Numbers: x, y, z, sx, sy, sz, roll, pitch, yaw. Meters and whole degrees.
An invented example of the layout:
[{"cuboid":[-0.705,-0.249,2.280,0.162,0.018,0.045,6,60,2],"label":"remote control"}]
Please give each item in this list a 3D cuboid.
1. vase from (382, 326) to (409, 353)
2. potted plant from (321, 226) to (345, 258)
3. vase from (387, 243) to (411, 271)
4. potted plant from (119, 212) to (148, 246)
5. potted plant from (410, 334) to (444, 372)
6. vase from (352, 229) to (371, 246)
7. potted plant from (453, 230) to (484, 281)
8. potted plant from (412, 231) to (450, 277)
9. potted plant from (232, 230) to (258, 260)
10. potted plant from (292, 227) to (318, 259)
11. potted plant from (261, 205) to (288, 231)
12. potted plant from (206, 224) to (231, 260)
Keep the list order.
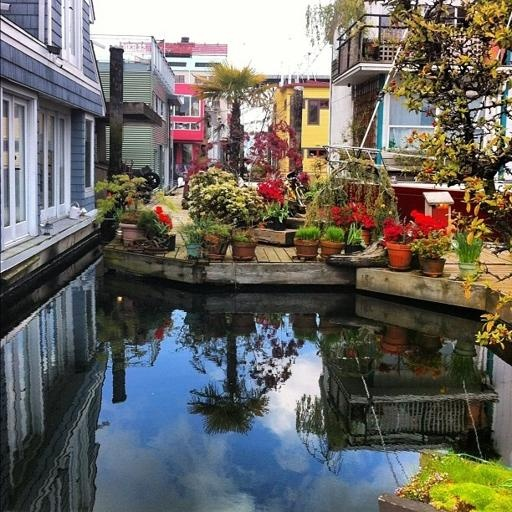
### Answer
[{"cuboid":[1.516,0.925,5.557,0.202,0.202,0.206,1,0,-1],"label":"vase"},{"cuboid":[1.187,-0.227,7.863,0.359,0.414,0.372,10,-11,-30],"label":"potted plant"},{"cuboid":[1.967,0.015,6.961,0.350,0.327,0.357,0,-2,-1],"label":"vase"},{"cuboid":[-2.176,-0.474,9.018,0.563,0.580,0.542,0,1,24],"label":"potted plant"},{"cuboid":[1.700,0.989,5.122,0.265,0.288,0.298,1,-4,-1],"label":"potted plant"},{"cuboid":[1.644,-0.279,7.907,0.260,0.196,0.265,0,0,-2],"label":"vase"},{"cuboid":[2.638,0.057,6.347,0.288,0.591,0.327,-2,5,-17],"label":"potted plant"},{"cuboid":[2.312,-0.028,6.798,0.454,0.608,0.563,-3,5,2],"label":"potted plant"},{"cuboid":[-0.192,-0.183,7.819,0.488,0.519,0.420,0,-6,-2],"label":"potted plant"},{"cuboid":[0.777,-0.220,7.900,0.444,0.465,0.455,5,6,34],"label":"potted plant"},{"cuboid":[0.367,-0.717,9.504,0.450,0.477,0.418,4,-3,-25],"label":"potted plant"},{"cuboid":[-0.567,-0.186,7.711,0.512,0.550,0.446,1,-7,-4],"label":"potted plant"}]
